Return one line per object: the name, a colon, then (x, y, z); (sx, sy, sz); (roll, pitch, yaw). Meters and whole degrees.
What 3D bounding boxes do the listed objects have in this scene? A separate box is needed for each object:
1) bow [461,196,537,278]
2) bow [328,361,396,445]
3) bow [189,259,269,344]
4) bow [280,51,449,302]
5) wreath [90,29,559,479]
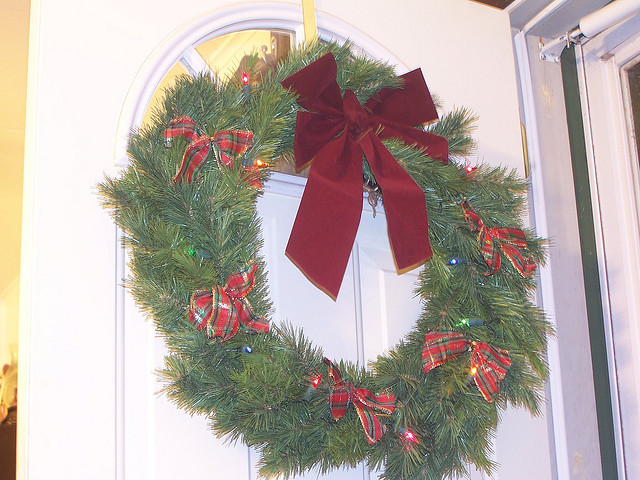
bow: (0.375, -0.013, 1.689); (0.046, 0.160, 0.151); (-26, -7, 36)
bow: (0.084, 0.325, 1.574); (0.135, 0.165, 0.051); (-4, -18, -4)
bow: (-0.158, 0.139, 1.520); (0.175, 0.155, 0.055); (-28, -56, -16)
bow: (0.099, -0.133, 1.671); (0.353, 0.522, 0.097); (4, -19, -14)
wreath: (-0.069, -0.051, 1.898); (0.890, 1.010, 0.280); (13, -6, -25)
